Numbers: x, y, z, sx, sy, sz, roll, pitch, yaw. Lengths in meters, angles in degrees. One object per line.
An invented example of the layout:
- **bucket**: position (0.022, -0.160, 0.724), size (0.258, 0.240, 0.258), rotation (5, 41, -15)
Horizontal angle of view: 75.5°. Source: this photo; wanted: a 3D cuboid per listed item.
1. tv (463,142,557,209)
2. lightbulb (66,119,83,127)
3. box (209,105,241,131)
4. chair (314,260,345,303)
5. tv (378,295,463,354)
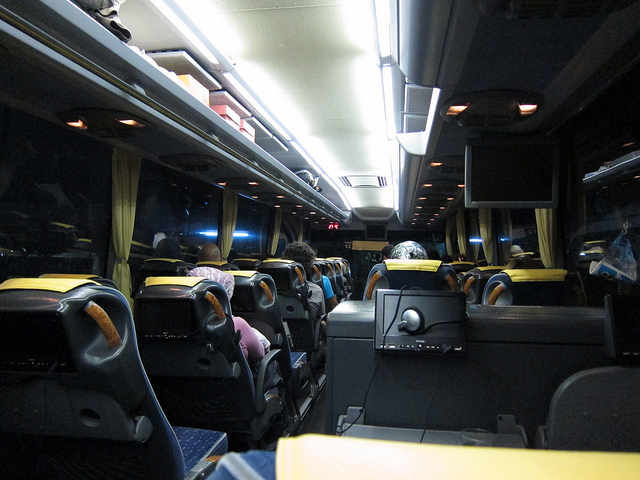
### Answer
- **tv**: position (1.875, -0.646, 4.060), size (0.877, 0.690, 0.090), rotation (0, 1, 4)
- **lightbulb**: position (-2.513, -1.197, 4.248), size (0.085, 0.036, 0.063), rotation (-2, 1, 14)
- **box**: position (-1.266, -1.617, 5.433), size (0.293, 0.312, 0.584), rotation (-2, -3, -1)
- **chair**: position (0.233, 0.844, 8.983), size (0.644, 1.059, 0.955), rotation (1, 6, 17)
- **tv**: position (0.495, 0.404, 2.016), size (0.411, 0.304, 0.275), rotation (1, -4, 8)
